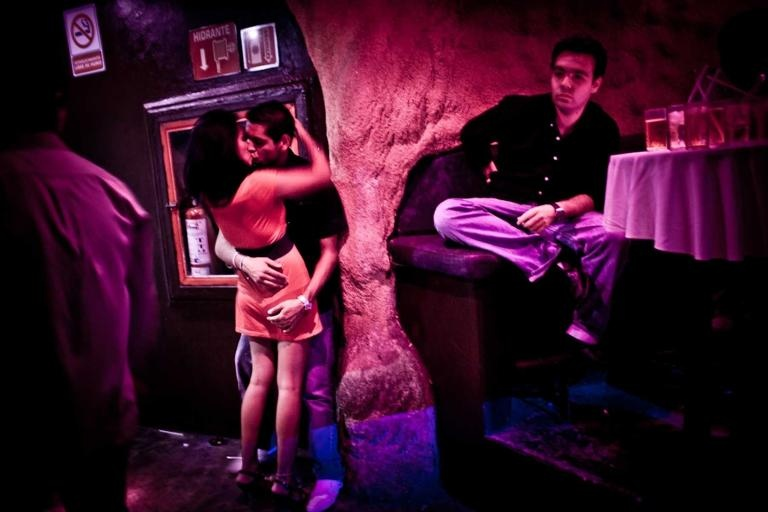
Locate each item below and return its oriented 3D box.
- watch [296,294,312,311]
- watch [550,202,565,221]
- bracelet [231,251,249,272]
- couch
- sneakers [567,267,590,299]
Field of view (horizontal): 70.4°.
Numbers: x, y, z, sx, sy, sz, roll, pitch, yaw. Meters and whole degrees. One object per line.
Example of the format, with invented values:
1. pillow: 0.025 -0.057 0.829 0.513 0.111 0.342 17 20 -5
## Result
1. watch: -0.437 0.252 2.989 0.085 0.082 0.056 -6 30 40
2. watch: 0.984 -0.252 3.075 0.078 0.097 0.045 -8 12 -20
3. bracelet: -0.783 0.024 2.952 0.076 0.098 0.046 -2 5 36
4. couch: 0.553 0.118 3.152 0.553 1.463 1.006 -14 15 -41
5. sneakers: 1.080 0.148 3.012 0.116 0.162 0.054 -6 0 38
